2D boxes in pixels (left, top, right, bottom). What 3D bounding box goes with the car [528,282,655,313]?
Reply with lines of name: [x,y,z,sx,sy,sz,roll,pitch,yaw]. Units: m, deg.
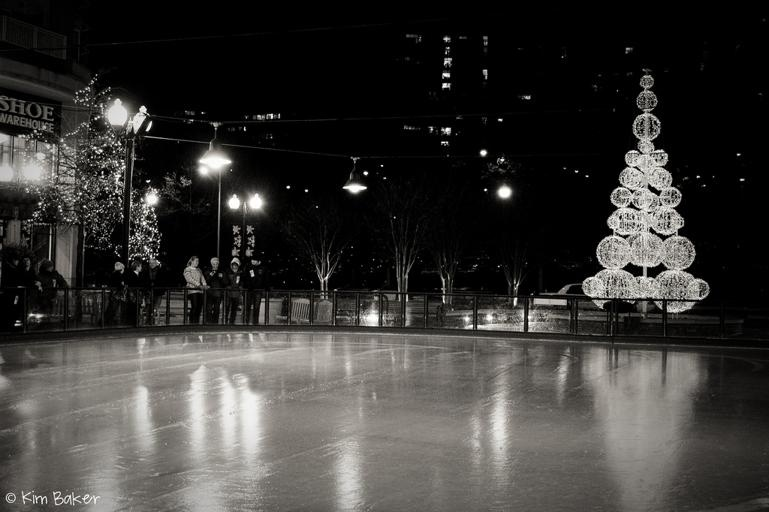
car: [7.938,1.749,29.430,3.779,1.019,2.399,-3,-4,14]

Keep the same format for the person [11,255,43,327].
person: [-12.108,1.181,25.286,0.626,2.426,1.035,-1,-5,40]

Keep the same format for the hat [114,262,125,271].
hat: [-9.768,0.371,27.578,0.328,0.402,0.415,4,7,-1]

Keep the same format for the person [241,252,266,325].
person: [-5.601,1.512,31.969,0.992,2.761,1.300,3,-4,-10]
